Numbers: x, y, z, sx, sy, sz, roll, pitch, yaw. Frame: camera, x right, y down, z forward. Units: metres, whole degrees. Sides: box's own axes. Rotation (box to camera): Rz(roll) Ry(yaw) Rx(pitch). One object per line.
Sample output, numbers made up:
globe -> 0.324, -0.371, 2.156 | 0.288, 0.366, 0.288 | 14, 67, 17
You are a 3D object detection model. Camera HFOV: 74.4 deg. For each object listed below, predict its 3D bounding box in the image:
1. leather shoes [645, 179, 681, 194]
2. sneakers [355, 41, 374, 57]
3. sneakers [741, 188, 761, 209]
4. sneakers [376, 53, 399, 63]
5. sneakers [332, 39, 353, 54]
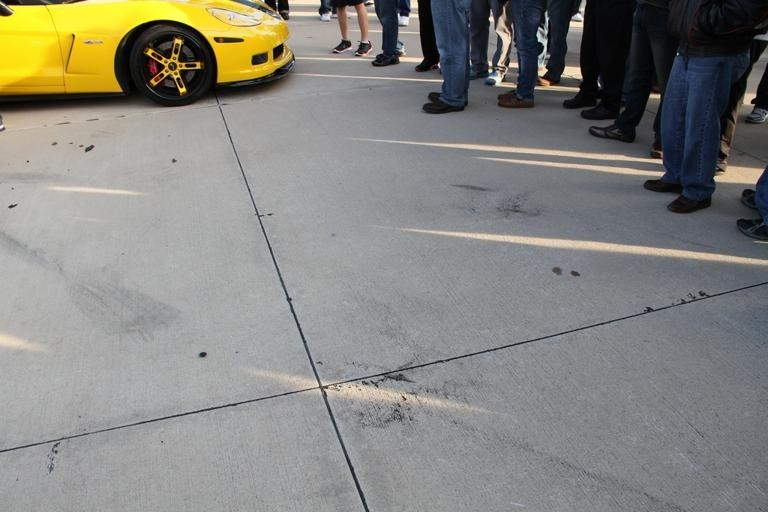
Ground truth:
leather shoes -> 2.098, -0.517, 3.792 | 0.282, 0.117, 0.100 | 2, 43, 15
sneakers -> -0.247, -2.824, 6.941 | 0.138, 0.136, 0.335 | 5, 19, 14
sneakers -> 2.573, -0.392, 3.484 | 0.068, 0.070, 0.180 | -2, 50, 12
sneakers -> 0.058, -2.468, 6.401 | 0.326, 0.110, 0.130 | -4, 6, -3
sneakers -> -0.554, -2.903, 7.054 | 0.145, 0.148, 0.362 | 18, 33, 33
